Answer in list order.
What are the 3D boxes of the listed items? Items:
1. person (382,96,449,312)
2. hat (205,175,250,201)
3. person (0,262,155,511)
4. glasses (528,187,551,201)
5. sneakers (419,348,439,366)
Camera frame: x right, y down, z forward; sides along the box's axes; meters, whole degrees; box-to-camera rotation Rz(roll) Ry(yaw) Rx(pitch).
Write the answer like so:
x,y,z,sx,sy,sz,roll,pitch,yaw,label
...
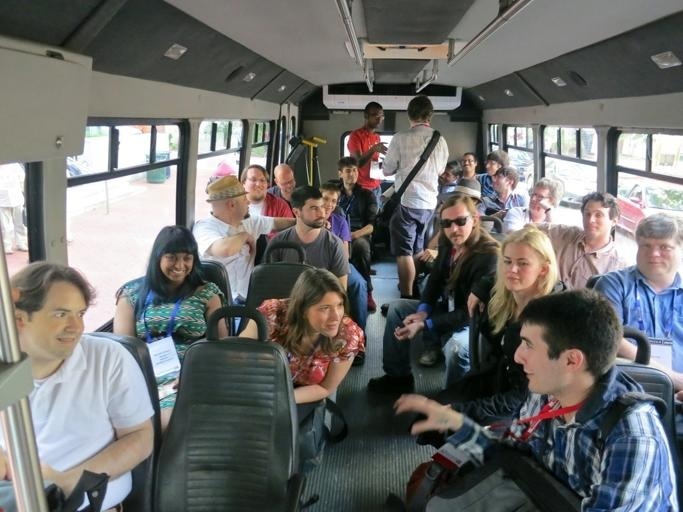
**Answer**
x,y,z,sx,sy,sz,roll,pitch,yaw,label
0.958,-0.696,7.154,0.777,2.753,0.766,6,9,30,person
-1.093,-0.629,5.032,0.282,0.126,0.220,2,23,19,hat
-1.233,0.700,2.651,0.630,1.334,0.359,-2,6,-33,person
2.264,-0.712,6.131,0.160,0.138,0.113,8,-13,-19,glasses
0.873,1.011,5.433,0.233,0.162,0.121,1,-2,-24,sneakers
